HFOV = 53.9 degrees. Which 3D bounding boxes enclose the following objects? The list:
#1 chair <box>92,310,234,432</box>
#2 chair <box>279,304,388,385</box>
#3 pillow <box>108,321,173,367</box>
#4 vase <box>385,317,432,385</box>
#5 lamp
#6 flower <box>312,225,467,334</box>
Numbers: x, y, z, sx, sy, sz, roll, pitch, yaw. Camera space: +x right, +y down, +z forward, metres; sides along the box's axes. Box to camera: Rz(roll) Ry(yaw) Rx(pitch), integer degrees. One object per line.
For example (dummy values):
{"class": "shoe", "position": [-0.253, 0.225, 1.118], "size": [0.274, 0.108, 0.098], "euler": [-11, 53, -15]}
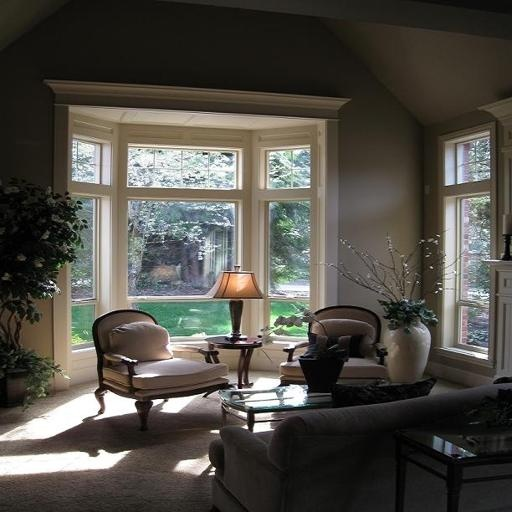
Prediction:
{"class": "chair", "position": [-0.869, 0.890, 4.301], "size": [0.838, 0.698, 0.985], "euler": [0, 2, -45]}
{"class": "chair", "position": [0.692, 0.906, 4.535], "size": [0.875, 0.843, 0.826], "euler": [0, -6, 9]}
{"class": "pillow", "position": [-1.036, 0.768, 4.474], "size": [0.246, 0.331, 0.665], "euler": [-6, -8, 36]}
{"class": "vase", "position": [1.431, 0.891, 4.980], "size": [0.516, 0.618, 0.463], "euler": [-4, 1, 33]}
{"class": "lamp", "position": [-0.172, 0.447, 4.652], "size": [0.597, 0.603, 0.500], "euler": [0, -13, 7]}
{"class": "flower", "position": [1.464, 0.300, 5.591], "size": [0.980, 0.678, 0.747], "euler": [-3, -7, -28]}
